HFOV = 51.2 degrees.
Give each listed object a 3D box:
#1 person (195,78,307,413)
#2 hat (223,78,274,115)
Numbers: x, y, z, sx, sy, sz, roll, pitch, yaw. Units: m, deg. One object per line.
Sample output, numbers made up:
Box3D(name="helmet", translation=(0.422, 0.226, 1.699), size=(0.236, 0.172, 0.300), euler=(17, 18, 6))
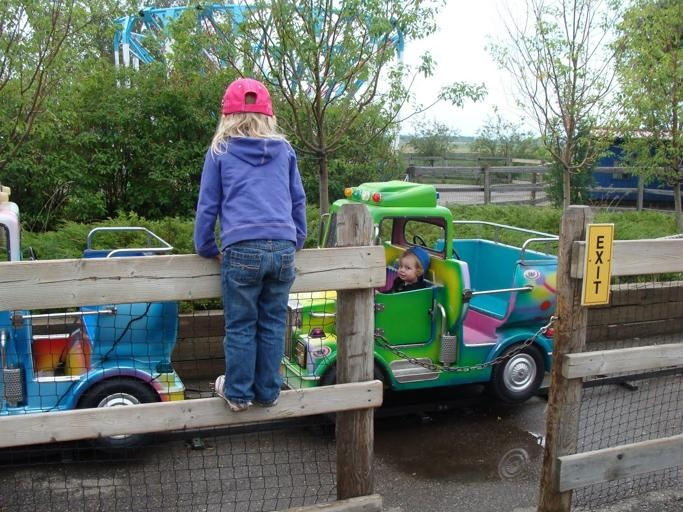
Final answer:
Box3D(name="person", translation=(-0.706, -0.111, 5.602), size=(0.835, 2.561, 0.439), euler=(-2, 3, -3))
Box3D(name="hat", translation=(-0.781, -1.295, 5.912), size=(0.391, 0.320, 0.599), euler=(-4, 0, -15))
